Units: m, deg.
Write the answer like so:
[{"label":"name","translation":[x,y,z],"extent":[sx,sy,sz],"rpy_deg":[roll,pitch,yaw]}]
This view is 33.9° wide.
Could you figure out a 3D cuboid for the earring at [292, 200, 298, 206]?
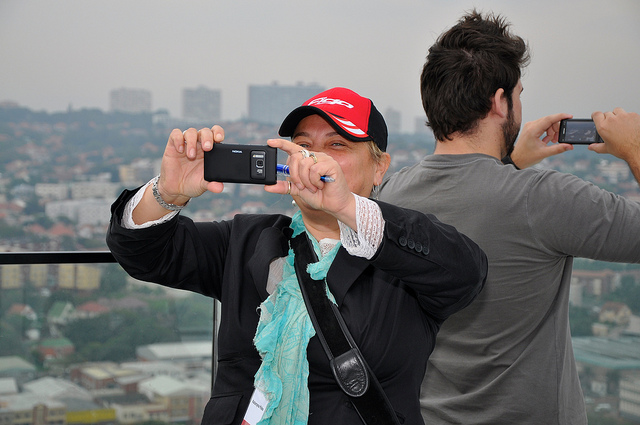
[{"label":"earring","translation":[-0.122,-0.051,5.321],"extent":[0.024,0.022,0.022],"rpy_deg":[2,-4,13]}]

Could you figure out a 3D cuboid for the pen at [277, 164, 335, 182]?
[{"label":"pen","translation":[-0.051,-0.193,5.042],"extent":[0.242,0.038,0.035],"rpy_deg":[16,7,30]}]

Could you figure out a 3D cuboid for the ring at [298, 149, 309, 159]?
[{"label":"ring","translation":[-0.073,-0.284,5.047],"extent":[0.034,0.023,0.037],"rpy_deg":[15,-3,1]}]

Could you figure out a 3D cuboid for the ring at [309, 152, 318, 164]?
[{"label":"ring","translation":[-0.027,-0.266,5.050],"extent":[0.032,0.040,0.015],"rpy_deg":[-26,5,-41]}]
